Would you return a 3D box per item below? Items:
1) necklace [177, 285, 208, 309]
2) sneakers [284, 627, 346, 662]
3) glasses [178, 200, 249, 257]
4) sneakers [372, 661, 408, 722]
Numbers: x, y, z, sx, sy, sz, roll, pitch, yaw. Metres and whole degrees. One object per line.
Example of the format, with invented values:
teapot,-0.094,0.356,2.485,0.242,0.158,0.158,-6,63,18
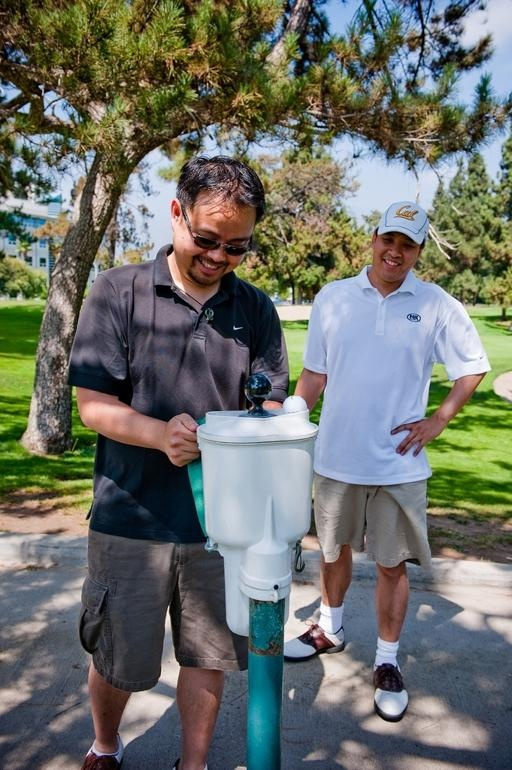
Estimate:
necklace,-0.189,-0.255,1.856,0.070,0.028,0.062,42,13,13
sneakers,0.251,1.145,2.851,0.278,0.113,0.105,3,-20,-18
glasses,-0.098,-0.416,1.758,0.210,0.132,0.138,0,9,-15
sneakers,0.527,1.191,2.525,0.140,0.116,0.242,4,9,10
